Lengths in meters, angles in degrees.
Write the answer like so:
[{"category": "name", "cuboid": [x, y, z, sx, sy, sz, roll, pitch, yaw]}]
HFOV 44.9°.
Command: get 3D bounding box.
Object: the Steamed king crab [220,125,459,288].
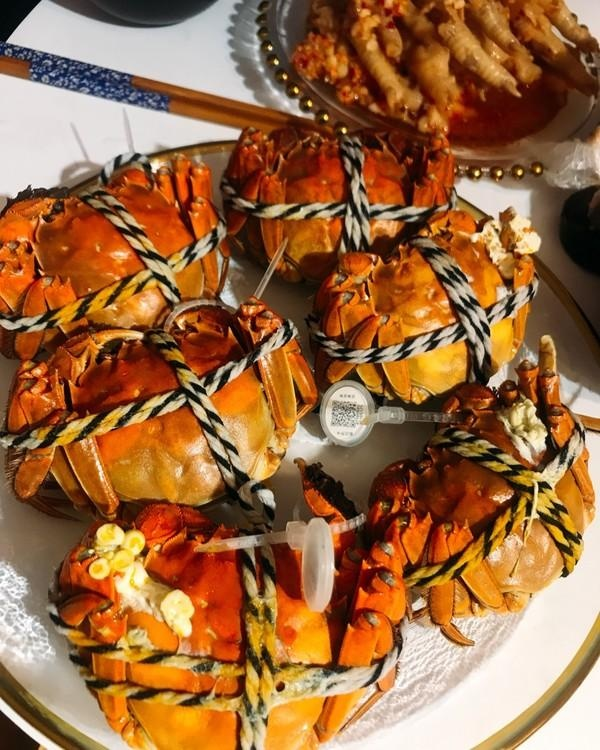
[{"category": "Steamed king crab", "cuboid": [0.057, -0.320, 1.282, 0.432, 0.173, 0.304, -3, 52, -5]}]
